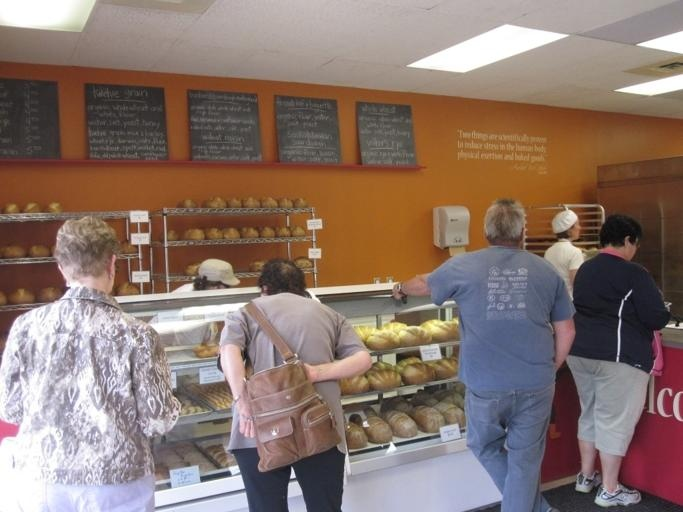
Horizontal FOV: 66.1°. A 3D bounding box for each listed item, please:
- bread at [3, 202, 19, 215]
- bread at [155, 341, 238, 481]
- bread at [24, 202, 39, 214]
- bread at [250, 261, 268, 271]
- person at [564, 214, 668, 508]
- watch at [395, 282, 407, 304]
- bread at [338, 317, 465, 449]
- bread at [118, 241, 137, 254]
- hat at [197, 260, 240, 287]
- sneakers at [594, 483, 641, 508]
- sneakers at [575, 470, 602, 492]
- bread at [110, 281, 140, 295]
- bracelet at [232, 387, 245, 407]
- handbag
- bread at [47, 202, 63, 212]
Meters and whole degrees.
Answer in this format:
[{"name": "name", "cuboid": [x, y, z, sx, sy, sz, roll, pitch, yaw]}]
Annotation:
[{"name": "bread", "cuboid": [-2.742, -0.395, 4.364, 0.114, 0.063, 0.112, 9, 16, 24]}, {"name": "bread", "cuboid": [-0.753, 0.707, 2.912, 0.507, 0.660, 0.957, -1, 1, -23]}, {"name": "bread", "cuboid": [-2.586, -0.415, 4.404, 0.113, 0.089, 0.086, -9, 7, -5]}, {"name": "bread", "cuboid": [-0.704, 0.075, 4.387, 0.111, 0.082, 0.142, 0, 6, 15]}, {"name": "person", "cuboid": [1.664, 0.752, 3.190, 0.535, 1.547, 0.234, -1, 6, 22]}, {"name": "watch", "cuboid": [0.330, 0.211, 2.967, 0.037, 0.109, 0.077, -5, -5, 3]}, {"name": "bread", "cuboid": [0.309, 0.700, 2.890, 0.849, 0.762, 0.270, 0, -4, -29]}, {"name": "bread", "cuboid": [-1.716, -0.075, 4.191, 0.108, 0.058, 0.106, -1, 11, -31]}, {"name": "hat", "cuboid": [-0.859, 0.109, 3.640, 0.249, 0.123, 0.180, 9, 11, -22]}, {"name": "sneakers", "cuboid": [1.686, 1.464, 3.261, 0.278, 0.128, 0.116, -2, 1, -5]}, {"name": "sneakers", "cuboid": [1.606, 1.452, 3.439, 0.220, 0.096, 0.086, -5, 3, -41]}, {"name": "bread", "cuboid": [-1.870, 0.243, 4.490, 0.184, 0.100, 0.150, -2, 2, -11]}, {"name": "bracelet", "cuboid": [-0.423, 0.574, 2.140, 0.052, 0.065, 0.028, 6, 7, 20]}, {"name": "handbag", "cuboid": [-0.215, 0.649, 2.150, 0.365, 0.377, 0.231, -18, -4, -13]}, {"name": "bread", "cuboid": [-2.464, -0.428, 4.498, 0.093, 0.061, 0.108, 8, 13, -9]}]
